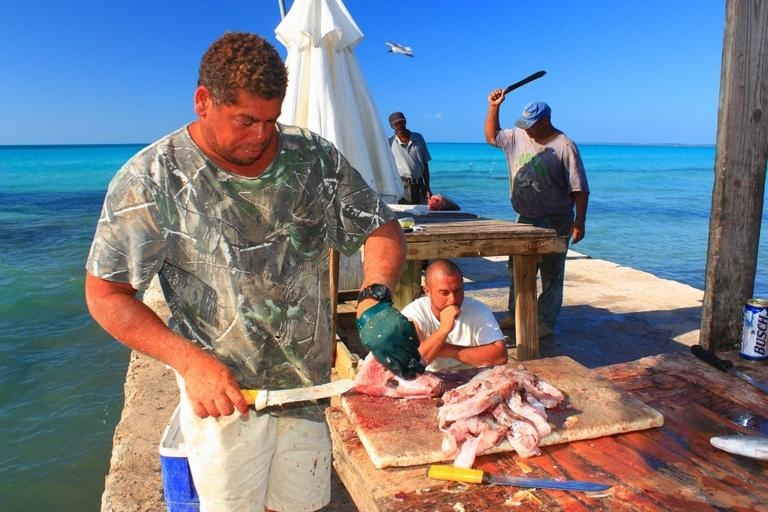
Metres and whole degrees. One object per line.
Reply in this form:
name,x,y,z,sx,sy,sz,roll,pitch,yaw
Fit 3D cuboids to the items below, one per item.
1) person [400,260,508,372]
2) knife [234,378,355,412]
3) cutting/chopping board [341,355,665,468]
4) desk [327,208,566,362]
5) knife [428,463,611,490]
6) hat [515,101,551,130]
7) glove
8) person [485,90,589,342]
person,0.598,0.581,4.977,0.819,1.052,1.485,2,15,-3
knife,-0.449,0.827,3.306,0.886,0.103,0.205,-4,24,-18
cutting/chopping board,0.717,0.978,3.302,1.811,0.387,0.965,0,17,-13
desk,0.972,0.451,6.584,2.080,1.075,1.893,-2,1,9
knife,0.731,1.201,2.950,0.978,0.156,0.070,-4,13,6
hat,1.911,-1.766,6.932,0.402,0.314,0.252,-3,12,11
glove,0.091,0.532,3.310,0.318,0.436,0.275,-33,-6,21
person,2.009,-0.592,7.370,1.600,3.290,0.998,9,12,43
